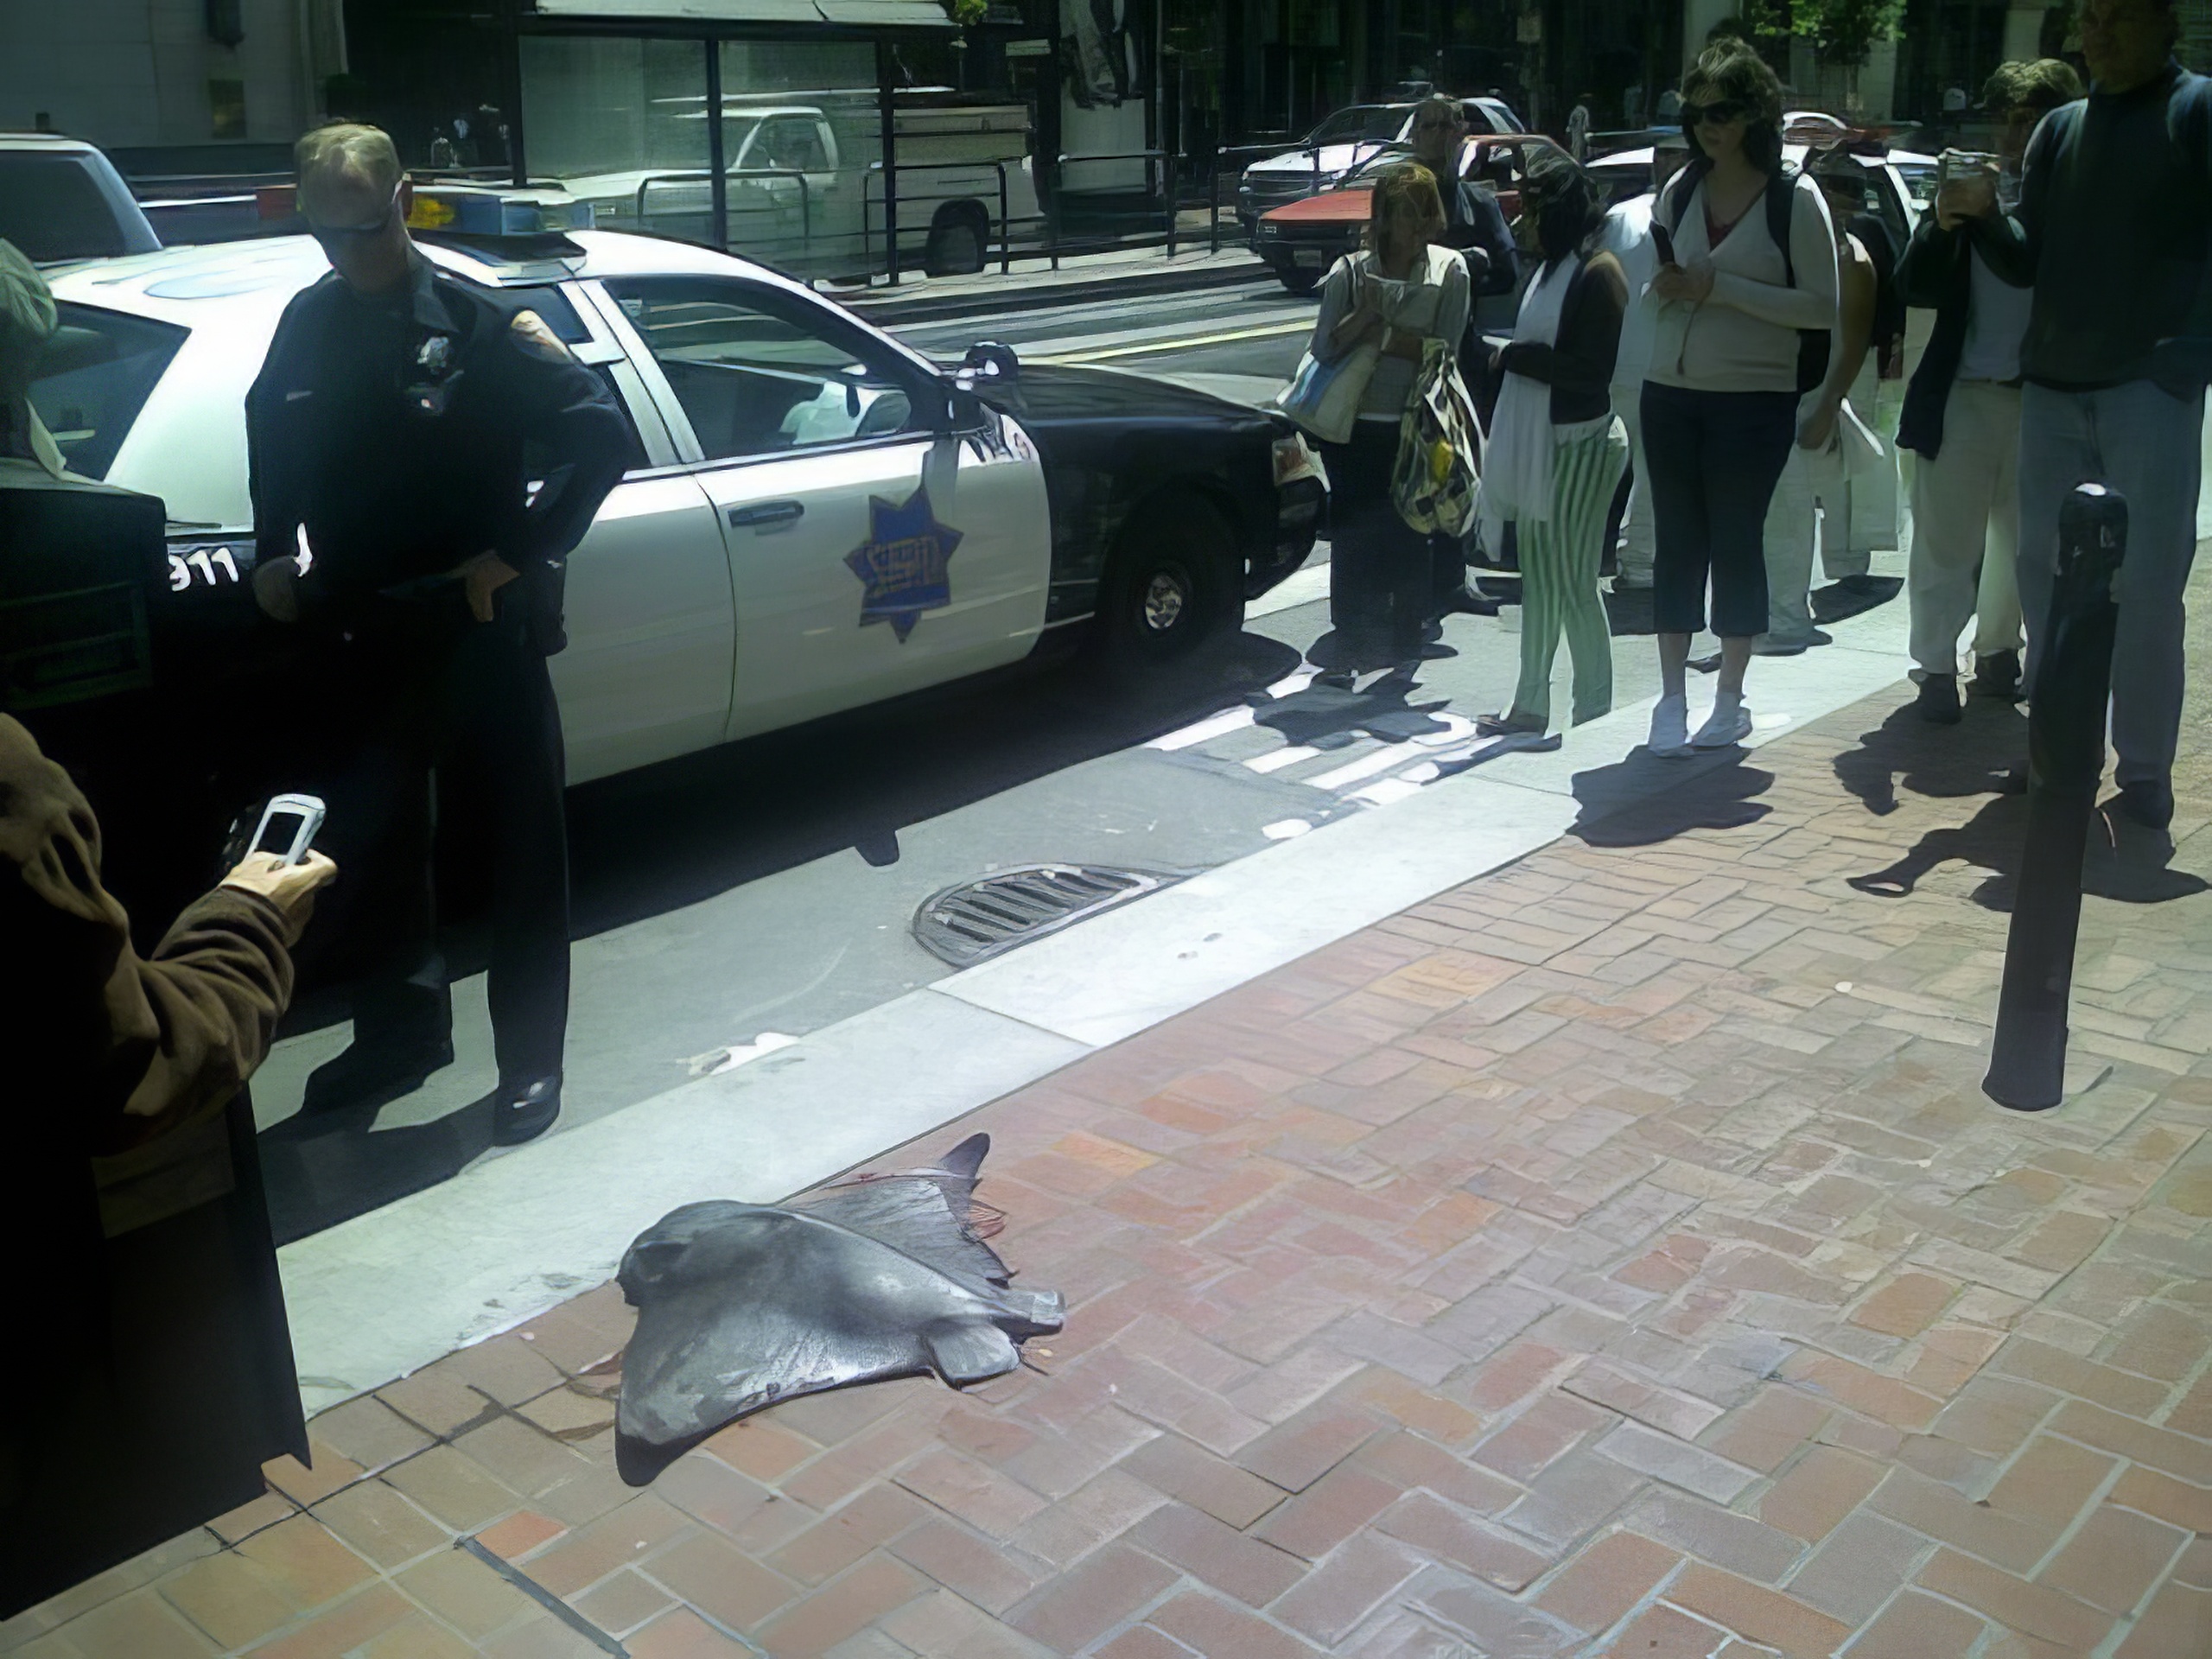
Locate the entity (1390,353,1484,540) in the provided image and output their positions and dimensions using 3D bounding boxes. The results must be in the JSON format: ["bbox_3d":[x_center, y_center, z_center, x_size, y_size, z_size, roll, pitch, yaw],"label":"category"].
[{"bbox_3d":[1.285,-1.473,6.889,0.347,0.686,0.586,2,24,9],"label":"entity"}]

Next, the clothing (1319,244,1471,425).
[{"bbox_3d":[1.115,-1.911,6.885,0.693,0.660,0.406,10,27,18],"label":"clothing"}]

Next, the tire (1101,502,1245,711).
[{"bbox_3d":[0.243,-0.923,7.170,0.790,0.666,0.264,-23,35,-32],"label":"tire"}]

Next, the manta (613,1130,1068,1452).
[{"bbox_3d":[-0.573,0.882,3.504,0.853,0.125,0.730,-8,22,-17],"label":"manta"}]

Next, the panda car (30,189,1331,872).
[{"bbox_3d":[-0.984,-1.230,6.199,4.714,1.331,1.971,-17,26,-35],"label":"panda car"}]

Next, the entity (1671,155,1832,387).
[{"bbox_3d":[2.083,-1.814,5.769,0.591,0.540,0.550,-30,35,-22],"label":"entity"}]
